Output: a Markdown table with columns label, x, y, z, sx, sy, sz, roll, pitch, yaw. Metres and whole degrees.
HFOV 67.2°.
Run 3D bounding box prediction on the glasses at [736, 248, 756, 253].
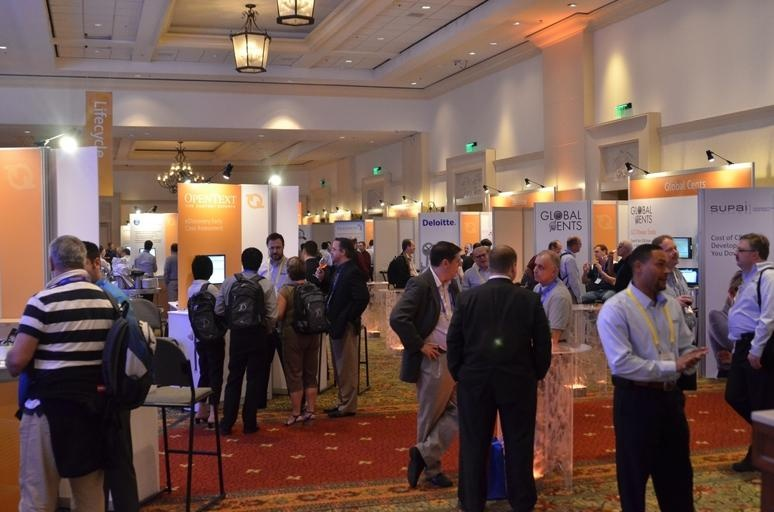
| label | x | y | z | sx | sy | sz | roll | pitch | yaw |
| --- | --- | --- | --- | --- | --- | --- | --- | --- | --- |
| glasses | 3.075 | -0.055 | 5.028 | 0.075 | 0.040 | 0.160 | -2 | 2 | -9 |

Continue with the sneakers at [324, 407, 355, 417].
| label | x | y | z | sx | sy | sz | roll | pitch | yaw |
| --- | --- | --- | --- | --- | --- | --- | --- | --- | --- |
| sneakers | -0.541 | 1.796 | 6.664 | 0.211 | 0.082 | 0.144 | 8 | -10 | -14 |

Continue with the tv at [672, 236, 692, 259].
| label | x | y | z | sx | sy | sz | roll | pitch | yaw |
| --- | --- | --- | --- | --- | --- | --- | --- | --- | --- |
| tv | 4.132 | -0.114 | 8.122 | 0.050 | 0.309 | 0.296 | 6 | -8 | -40 |

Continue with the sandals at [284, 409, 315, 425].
| label | x | y | z | sx | sy | sz | roll | pitch | yaw |
| --- | --- | --- | --- | --- | --- | --- | --- | --- | --- |
| sandals | -0.959 | 1.774 | 6.411 | 0.234 | 0.074 | 0.133 | -4 | -1 | 18 |

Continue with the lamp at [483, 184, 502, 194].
| label | x | y | z | sx | sy | sz | roll | pitch | yaw |
| --- | --- | --- | --- | --- | --- | --- | --- | --- | --- |
| lamp | 2.578 | -1.662 | 14.410 | 0.503 | 0.259 | 0.178 | 15 | -5 | 5 |

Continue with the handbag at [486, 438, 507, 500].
| label | x | y | z | sx | sy | sz | roll | pitch | yaw |
| --- | --- | --- | --- | --- | --- | --- | --- | --- | --- |
| handbag | 0.869 | 1.701 | 4.643 | 0.130 | 0.437 | 0.168 | -1 | 1 | 15 |

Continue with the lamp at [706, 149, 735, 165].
| label | x | y | z | sx | sy | sz | roll | pitch | yaw |
| --- | --- | --- | --- | --- | --- | --- | --- | --- | --- |
| lamp | 5.488 | -1.655 | 9.590 | 0.400 | 0.284 | 0.399 | -1 | 2 | 30 |

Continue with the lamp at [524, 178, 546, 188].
| label | x | y | z | sx | sy | sz | roll | pitch | yaw |
| --- | --- | --- | --- | --- | --- | --- | --- | --- | --- |
| lamp | 3.350 | -1.681 | 13.282 | 0.470 | 0.268 | 0.153 | 4 | 5 | 40 |

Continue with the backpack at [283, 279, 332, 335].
| label | x | y | z | sx | sy | sz | roll | pitch | yaw |
| --- | --- | --- | --- | --- | --- | --- | --- | --- | --- |
| backpack | -0.856 | 0.584 | 6.265 | 0.527 | 0.581 | 0.377 | -1 | -2 | 41 |

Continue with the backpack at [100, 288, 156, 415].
| label | x | y | z | sx | sy | sz | roll | pitch | yaw |
| --- | --- | --- | --- | --- | --- | --- | --- | --- | --- |
| backpack | -1.690 | 0.716 | 3.799 | 0.316 | 0.616 | 0.244 | -2 | 1 | -24 |

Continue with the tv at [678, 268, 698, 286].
| label | x | y | z | sx | sy | sz | roll | pitch | yaw |
| --- | --- | --- | --- | --- | --- | --- | --- | --- | --- |
| tv | 3.976 | 0.274 | 7.669 | 0.182 | 0.254 | 0.256 | 1 | -5 | -28 |
